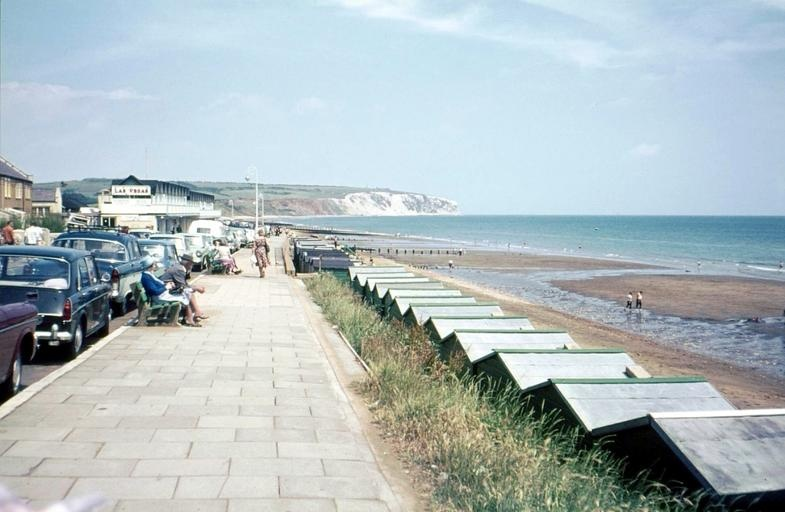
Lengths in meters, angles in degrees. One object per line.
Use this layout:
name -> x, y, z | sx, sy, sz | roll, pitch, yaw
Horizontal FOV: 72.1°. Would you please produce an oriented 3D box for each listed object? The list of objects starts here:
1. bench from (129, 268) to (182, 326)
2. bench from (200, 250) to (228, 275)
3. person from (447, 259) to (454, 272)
bench -> -6.662, 1.038, 13.620 | 1.200, 0.864, 1.613 | 1, 1, -22
bench -> -10.519, 0.378, 27.872 | 1.213, 1.268, 2.424 | 1, 6, -4
person -> 5.847, 1.156, 60.633 | 0.438, 1.332, 1.475 | 2, -7, 13
